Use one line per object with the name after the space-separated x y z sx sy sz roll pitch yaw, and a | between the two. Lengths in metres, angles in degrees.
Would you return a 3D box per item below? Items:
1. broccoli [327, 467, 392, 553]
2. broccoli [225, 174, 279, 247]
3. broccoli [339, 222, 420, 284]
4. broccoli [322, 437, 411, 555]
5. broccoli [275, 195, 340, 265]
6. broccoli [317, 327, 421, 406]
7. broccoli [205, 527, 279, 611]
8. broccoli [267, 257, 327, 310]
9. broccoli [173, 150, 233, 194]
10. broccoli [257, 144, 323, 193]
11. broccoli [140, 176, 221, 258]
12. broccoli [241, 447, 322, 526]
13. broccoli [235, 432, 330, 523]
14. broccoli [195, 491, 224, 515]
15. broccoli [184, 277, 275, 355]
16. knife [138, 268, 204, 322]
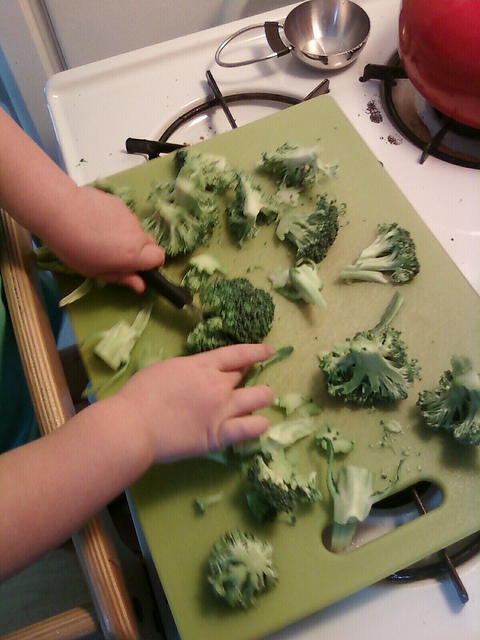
0.181 0.292 0.865 0.050 0.106 0.089 12 21 3 | broccoli
0.018 -0.193 1.023 0.114 0.049 0.075 -14 24 41 | broccoli
0.252 -0.112 1.002 0.108 0.061 0.110 -16 60 3 | broccoli
0.195 0.275 0.884 0.122 0.103 0.165 -2 61 0 | broccoli
0.119 -0.162 1.008 0.096 0.064 0.116 7 72 10 | broccoli
0.215 0.084 0.922 0.133 0.092 0.134 -30 31 -33 | broccoli
0.000 0.356 0.817 0.109 0.071 0.111 -14 62 -7 | broccoli
0.114 -0.055 0.991 0.079 0.105 0.041 -32 70 15 | broccoli
-0.064 -0.289 1.055 0.087 0.038 0.094 26 47 9 | broccoli
0.111 -0.301 1.098 0.106 0.090 0.156 21 19 25 | broccoli
-0.097 -0.180 1.018 0.136 0.070 0.140 29 82 6 | broccoli
0.071 0.232 0.883 0.108 0.084 0.037 22 99 31 | broccoli
0.054 0.240 0.862 0.122 0.037 0.141 -9 81 -3 | broccoli
-0.048 0.279 0.884 0.038 0.026 0.026 -19 24 -16 | broccoli
-0.012 -0.001 0.935 0.122 0.077 0.144 16 63 9 | broccoli
-0.120 -0.039 0.965 0.103 0.018 0.018 46 45 2 | knife
